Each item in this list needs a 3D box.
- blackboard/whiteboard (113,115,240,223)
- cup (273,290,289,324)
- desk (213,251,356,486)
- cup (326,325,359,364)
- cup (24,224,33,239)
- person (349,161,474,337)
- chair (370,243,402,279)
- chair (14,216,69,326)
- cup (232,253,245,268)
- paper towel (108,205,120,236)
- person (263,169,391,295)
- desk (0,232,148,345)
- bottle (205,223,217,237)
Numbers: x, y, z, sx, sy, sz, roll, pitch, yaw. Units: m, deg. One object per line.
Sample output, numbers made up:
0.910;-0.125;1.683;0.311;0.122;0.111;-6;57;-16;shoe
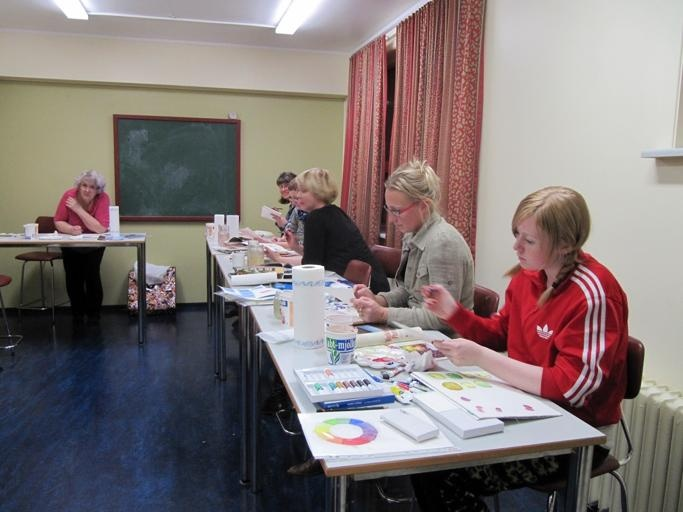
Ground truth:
-1.876;-0.988;5.493;1.255;1.074;0.061;-2;10;-16;blackboard/whiteboard
-0.247;0.209;2.073;0.107;0.114;0.110;2;4;0;cup
-0.363;0.765;2.651;0.531;0.420;1.505;11;-33;1;desk
-0.002;0.307;1.722;0.132;0.122;0.129;1;4;0;cup
-2.565;-0.208;4.094;0.076;0.107;0.236;-4;12;-32;cup
0.233;0.038;2.522;0.666;0.978;0.877;0;4;-7;person
0.309;0.020;3.337;0.203;0.257;0.198;-7;13;-35;chair
-3.135;0.103;5.196;0.493;1.046;0.473;1;12;-40;chair
-0.634;0.027;3.059;0.094;0.095;0.061;1;2;-4;cup
-1.966;-0.297;4.310;0.070;0.234;0.130;-4;12;-30;paper towel
-0.157;-0.007;3.370;0.728;1.093;0.395;-5;15;-25;person
-2.262;0.262;4.384;1.023;0.946;0.795;-1;11;-19;desk
-1.185;-0.235;4.545;0.120;0.127;0.109;2;0;-6;bottle
